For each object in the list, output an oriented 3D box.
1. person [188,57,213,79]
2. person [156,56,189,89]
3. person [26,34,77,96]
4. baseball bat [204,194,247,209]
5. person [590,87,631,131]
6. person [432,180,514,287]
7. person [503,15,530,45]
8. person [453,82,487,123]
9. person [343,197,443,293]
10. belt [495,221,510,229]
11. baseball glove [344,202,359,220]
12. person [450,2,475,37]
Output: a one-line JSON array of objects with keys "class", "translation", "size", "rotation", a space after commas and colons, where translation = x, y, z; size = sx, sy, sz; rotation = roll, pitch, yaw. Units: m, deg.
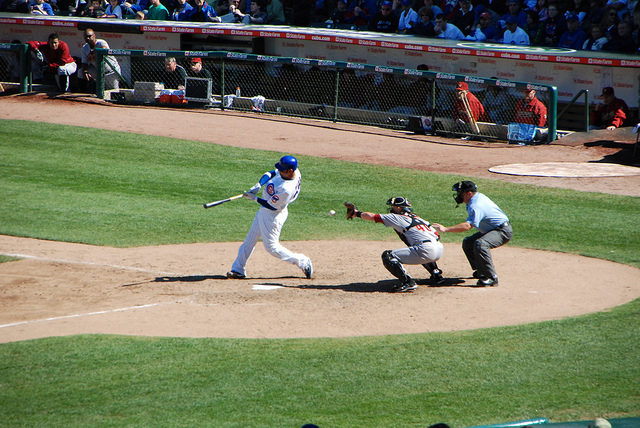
[{"class": "person", "translation": [-3.652, -4.437, 30.256], "size": [0.633, 0.594, 0.757], "rotation": [1, 9, -8]}, {"class": "person", "translation": [-4.555, -4.329, 30.609], "size": [0.927, 0.987, 1.287], "rotation": [0, 9, -12]}, {"class": "person", "translation": [-8.378, -4.634, 31.065], "size": [1.057, 1.856, 1.464], "rotation": [-7, 13, -41]}, {"class": "baseball bat", "translation": [-2.191, -0.284, 22.399], "size": [1.124, 0.104, 0.142], "rotation": [-15, 44, -45]}, {"class": "person", "translation": [7.787, -2.847, 27.103], "size": [0.778, 1.172, 0.989], "rotation": [-4, 12, -32]}, {"class": "person", "translation": [3.163, 0.392, 19.710], "size": [1.314, 2.034, 0.806], "rotation": [2, 10, -3]}, {"class": "person", "translation": [5.780, -5.469, 29.689], "size": [0.733, 0.847, 0.959], "rotation": [-3, 11, -28]}, {"class": "person", "translation": [4.055, -3.111, 27.974], "size": [0.815, 1.138, 0.998], "rotation": [10, 12, 37]}, {"class": "person", "translation": [1.561, 0.603, 19.553], "size": [1.609, 1.805, 0.550], "rotation": [3, 11, 5]}, {"class": "belt", "translation": [3.590, 0.221, 19.817], "size": [0.187, 0.042, 0.165], "rotation": [-25, 0, -3]}, {"class": "baseball glove", "translation": [0.566, -0.098, 19.450], "size": [0.204, 0.132, 0.387], "rotation": [-2, 51, -29]}, {"class": "person", "translation": [4.438, -6.009, 30.873], "size": [0.650, 0.995, 0.724], "rotation": [-1, 10, -18]}]
